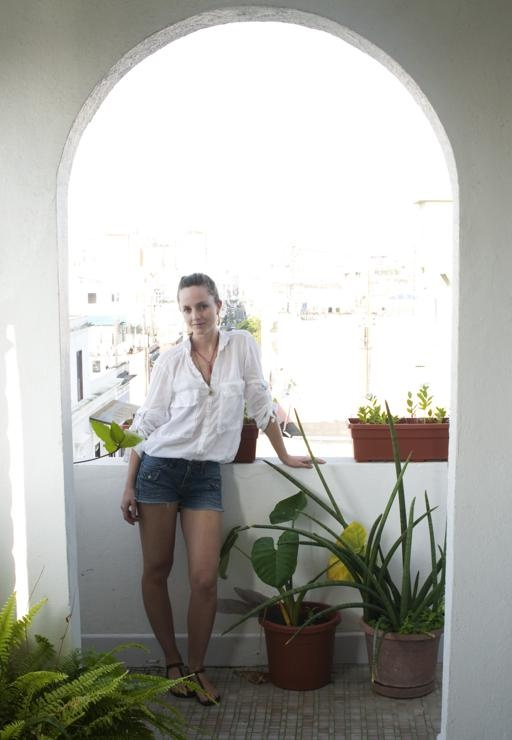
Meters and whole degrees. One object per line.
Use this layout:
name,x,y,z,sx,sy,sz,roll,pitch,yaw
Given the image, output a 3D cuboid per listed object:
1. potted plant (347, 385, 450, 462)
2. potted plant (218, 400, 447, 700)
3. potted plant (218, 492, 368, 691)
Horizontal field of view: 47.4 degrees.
potted plant,0.520,0.202,2.178,0.357,0.176,0.239,-1,4,4
potted plant,0.325,0.729,1.998,0.710,0.677,0.690,-4,-12,33
potted plant,0.082,0.803,2.086,0.362,0.612,0.506,-9,-7,-40
